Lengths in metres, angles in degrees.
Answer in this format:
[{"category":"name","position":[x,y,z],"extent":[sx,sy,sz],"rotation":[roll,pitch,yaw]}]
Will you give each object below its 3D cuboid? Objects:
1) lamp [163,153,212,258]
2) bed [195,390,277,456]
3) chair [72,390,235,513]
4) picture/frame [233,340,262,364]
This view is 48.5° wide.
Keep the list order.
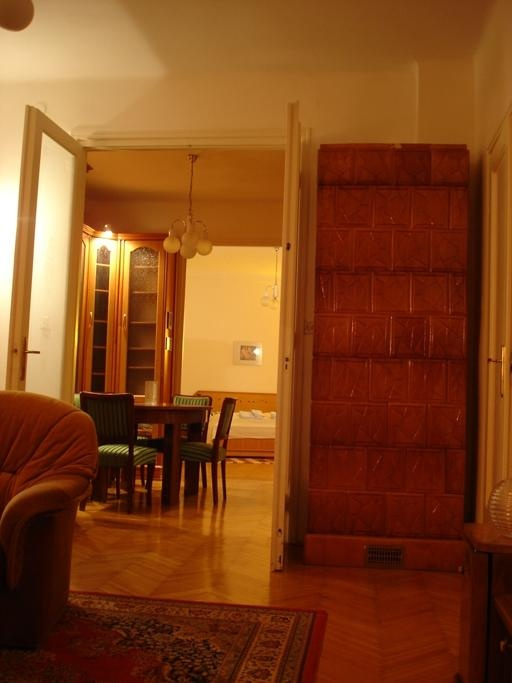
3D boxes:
[{"category":"lamp","position":[-0.667,-1.373,5.704],"extent":[0.431,1.050,0.419],"rotation":[-2,-9,25]},{"category":"bed","position":[-0.299,1.432,9.008],"extent":[1.267,0.743,1.253],"rotation":[1,2,-1]},{"category":"chair","position":[-0.818,0.759,4.808],"extent":[1.206,0.709,1.172],"rotation":[0,-1,-2]},{"category":"picture/frame","position":[-0.175,0.207,10.394],"extent":[0.447,0.359,0.032],"rotation":[2,-14,-11]}]
